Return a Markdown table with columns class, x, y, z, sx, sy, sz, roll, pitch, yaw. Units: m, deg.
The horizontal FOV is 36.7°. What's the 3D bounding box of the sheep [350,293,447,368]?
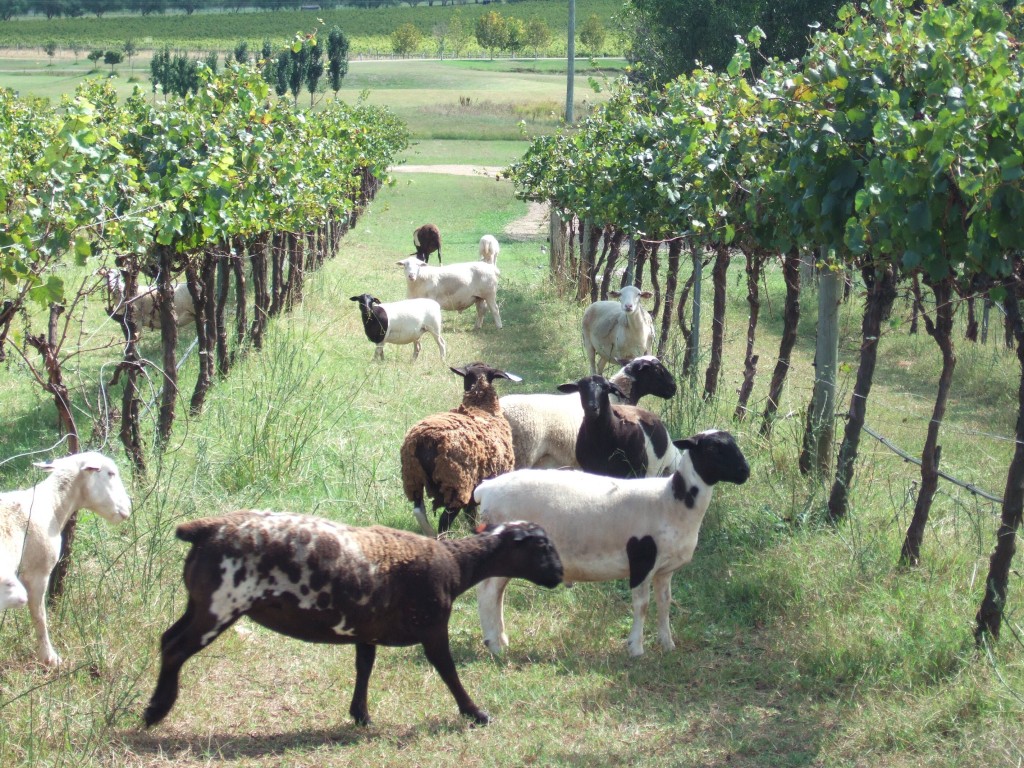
| class | x | y | z | sx | sy | sz | roll | pitch | yaw |
| --- | --- | --- | --- | --- | --- | --- | --- | --- | --- |
| sheep | -1.730 | -0.940 | 23.853 | 1.371 | 1.156 | 1.287 | -2 | 14 | -12 |
